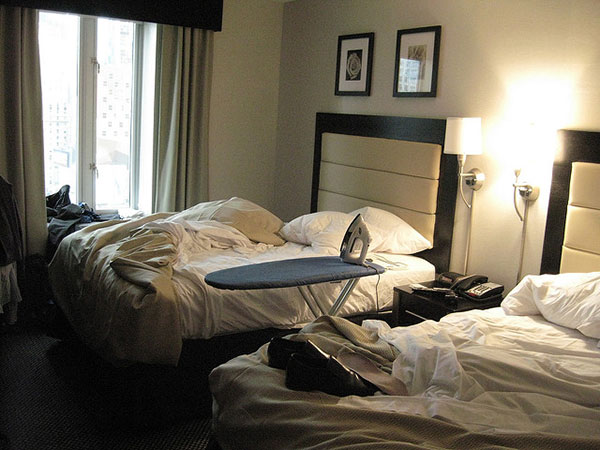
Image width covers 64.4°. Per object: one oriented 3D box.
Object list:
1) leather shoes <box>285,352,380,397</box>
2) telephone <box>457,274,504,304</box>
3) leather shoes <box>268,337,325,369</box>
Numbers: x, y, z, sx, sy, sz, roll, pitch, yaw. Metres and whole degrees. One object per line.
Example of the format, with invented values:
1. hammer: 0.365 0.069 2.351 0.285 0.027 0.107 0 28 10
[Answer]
1. leather shoes: 0.106 0.658 2.113 0.455 0.167 0.153 8 3 -9
2. telephone: 1.329 0.460 3.508 0.267 0.107 0.202 -3 11 -33
3. leather shoes: 0.010 0.591 2.193 0.317 0.128 0.114 0 9 -3
